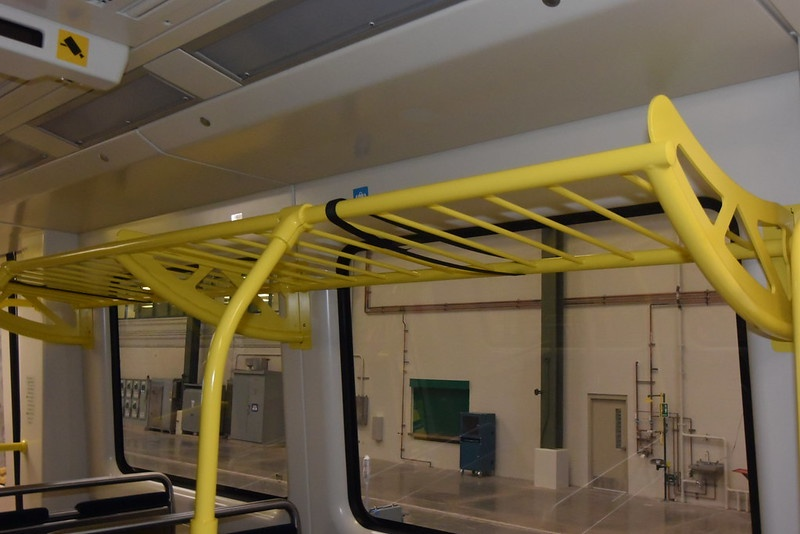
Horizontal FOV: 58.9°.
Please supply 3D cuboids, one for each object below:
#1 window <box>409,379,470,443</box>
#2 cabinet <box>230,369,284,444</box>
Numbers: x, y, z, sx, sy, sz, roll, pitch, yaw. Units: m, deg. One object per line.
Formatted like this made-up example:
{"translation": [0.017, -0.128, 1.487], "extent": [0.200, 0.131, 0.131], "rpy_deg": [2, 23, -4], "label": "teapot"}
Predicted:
{"translation": [0.349, 1.237, 6.118], "extent": [0.639, 0.530, 0.075], "rpy_deg": [-5, -4, 37], "label": "window"}
{"translation": [-1.313, 1.303, 6.705], "extent": [0.497, 0.605, 0.461], "rpy_deg": [-1, -8, 25], "label": "cabinet"}
